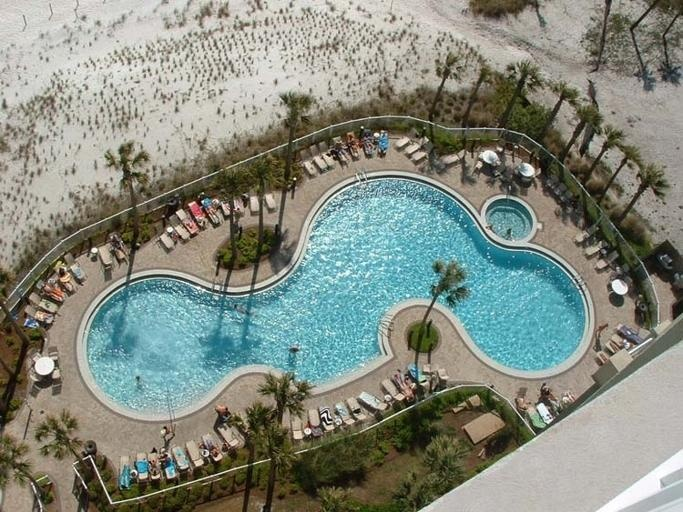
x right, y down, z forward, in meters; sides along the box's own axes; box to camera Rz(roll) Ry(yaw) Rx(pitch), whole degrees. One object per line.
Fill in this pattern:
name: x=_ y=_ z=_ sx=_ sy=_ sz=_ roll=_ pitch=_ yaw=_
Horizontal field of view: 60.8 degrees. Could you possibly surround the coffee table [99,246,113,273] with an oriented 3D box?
coffee table: x=-24.662 y=0.023 z=61.305 sx=1.230 sy=0.670 sz=2.670 roll=-27 pitch=76 yaw=-4
